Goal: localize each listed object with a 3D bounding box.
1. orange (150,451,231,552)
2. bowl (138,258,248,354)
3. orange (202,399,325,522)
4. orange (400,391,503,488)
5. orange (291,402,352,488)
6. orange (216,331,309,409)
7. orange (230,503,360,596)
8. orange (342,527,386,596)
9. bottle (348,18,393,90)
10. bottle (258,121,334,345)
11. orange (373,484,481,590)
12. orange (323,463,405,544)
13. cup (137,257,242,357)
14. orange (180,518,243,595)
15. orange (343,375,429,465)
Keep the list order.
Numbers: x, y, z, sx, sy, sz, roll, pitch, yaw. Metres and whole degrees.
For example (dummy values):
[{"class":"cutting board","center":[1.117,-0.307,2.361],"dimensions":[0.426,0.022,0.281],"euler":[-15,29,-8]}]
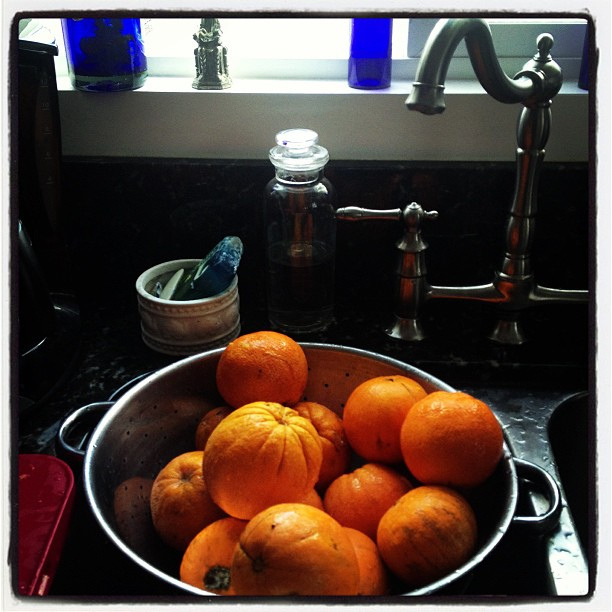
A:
[{"class":"orange","center":[-0.104,0.166,0.534],"dimensions":[0.068,0.073,0.072],"euler":[7,19,23]},{"class":"bowl","center":[-0.170,0.002,0.778],"dimensions":[0.106,0.072,0.117],"euler":[12,27,-6]},{"class":"orange","center":[-0.035,0.127,0.468],"dimensions":[0.096,0.071,0.072],"euler":[-3,26,-9]},{"class":"orange","center":[0.126,0.106,0.504],"dimensions":[0.082,0.096,0.094],"euler":[0,14,14]},{"class":"orange","center":[0.020,0.123,0.548],"dimensions":[0.059,0.070,0.062],"euler":[3,10,8]},{"class":"orange","center":[-0.048,0.067,0.598],"dimensions":[0.089,0.107,0.102],"euler":[-5,12,6]},{"class":"orange","center":[-0.007,0.175,0.406],"dimensions":[0.090,0.045,0.058],"euler":[5,27,7]},{"class":"orange","center":[0.048,0.195,0.434],"dimensions":[0.040,0.057,0.043],"euler":[0,3,-5]},{"class":"bottle","center":[0.100,-0.388,0.886],"dimensions":[0.067,0.122,0.059],"euler":[12,38,17]},{"class":"bottle","center":[-0.015,-0.117,0.828],"dimensions":[0.111,0.266,0.207],"euler":[-1,26,-4]},{"class":"orange","center":[0.090,0.167,0.480],"dimensions":[0.071,0.079,0.077],"euler":[-32,-7,-17]},{"class":"orange","center":[0.047,0.162,0.502],"dimensions":[0.053,0.060,0.057],"euler":[-8,18,-8]},{"class":"cup","center":[-0.159,-0.039,0.758],"dimensions":[0.128,0.090,0.137],"euler":[0,25,0]},{"class":"orange","center":[-0.073,0.189,0.438],"dimensions":[0.037,0.052,0.041],"euler":[-4,3,-9]},{"class":"orange","center":[0.075,0.104,0.556],"dimensions":[0.080,0.084,0.085],"euler":[-2,11,-20]}]
